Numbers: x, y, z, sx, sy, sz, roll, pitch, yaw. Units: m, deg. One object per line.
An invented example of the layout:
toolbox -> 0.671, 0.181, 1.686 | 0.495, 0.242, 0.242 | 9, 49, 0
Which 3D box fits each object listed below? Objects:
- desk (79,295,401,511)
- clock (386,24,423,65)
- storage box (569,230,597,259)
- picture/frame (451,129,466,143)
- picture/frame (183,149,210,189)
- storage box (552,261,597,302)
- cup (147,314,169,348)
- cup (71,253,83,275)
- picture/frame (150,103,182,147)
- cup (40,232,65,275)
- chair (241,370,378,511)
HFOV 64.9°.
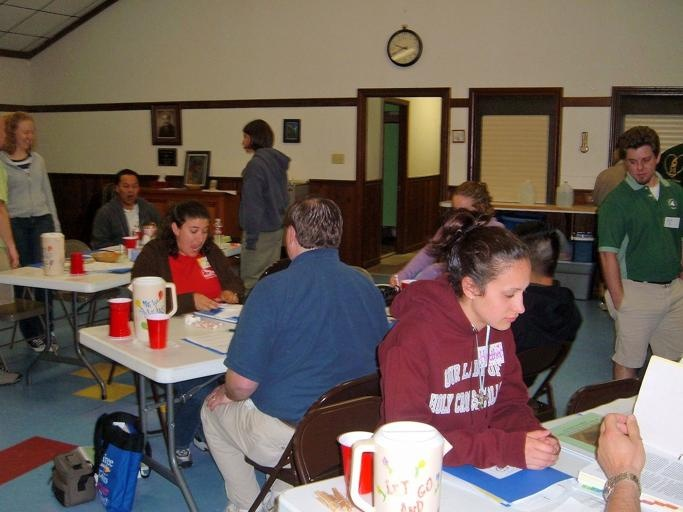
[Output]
desk -> -0.715, 0.639, 2.761 | 0.853, 0.979, 0.973 | -12, 23, -43
clock -> 0.899, -2.986, 7.559 | 0.533, 0.652, 0.110 | 1, 7, 18
storage box -> 2.968, -0.101, 6.611 | 0.259, 0.307, 0.411 | 3, 15, 10
picture/frame -> 1.647, -1.688, 7.536 | 0.180, 0.195, 0.016 | 3, 5, 13
picture/frame -> -2.394, -1.434, 8.872 | 0.596, 0.801, 0.057 | 6, 2, 23
storage box -> 2.436, 0.246, 5.588 | 0.447, 0.356, 0.250 | 6, 7, 33
cup -> -0.861, 0.338, 2.504 | 0.090, 0.166, 0.124 | -5, 12, -24
cup -> -1.901, 0.047, 3.832 | 0.088, 0.142, 0.167 | -6, 13, -29
picture/frame -> -2.944, -2.225, 9.040 | 0.650, 0.799, 0.060 | 4, 8, 21
cup -> -2.029, -0.016, 3.775 | 0.143, 0.286, 0.125 | -7, 13, -33
chair -> -0.187, 0.720, 2.129 | 0.397, 0.693, 0.469 | -4, 12, -36
